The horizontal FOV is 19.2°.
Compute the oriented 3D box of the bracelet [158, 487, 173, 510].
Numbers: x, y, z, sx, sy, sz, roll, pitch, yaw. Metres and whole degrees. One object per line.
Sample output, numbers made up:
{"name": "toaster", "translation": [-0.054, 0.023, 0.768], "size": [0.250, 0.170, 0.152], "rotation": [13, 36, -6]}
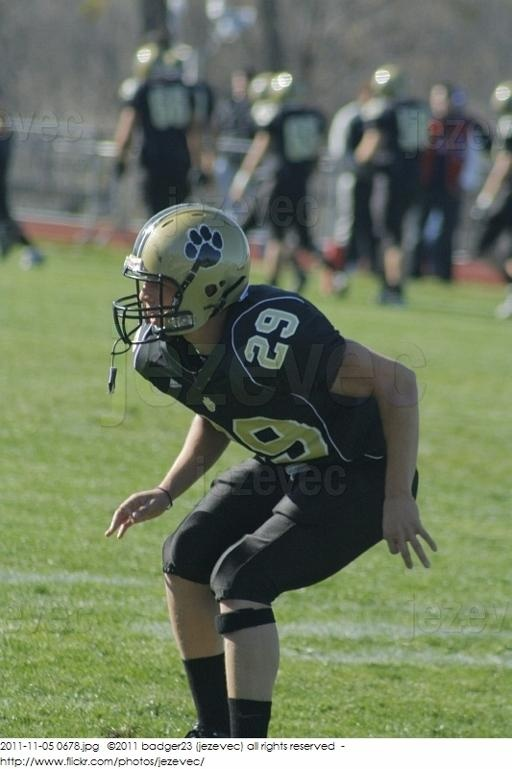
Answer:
{"name": "bracelet", "translation": [-0.274, 0.367, 4.787], "size": [0.061, 0.058, 0.018], "rotation": [-5, -16, 28]}

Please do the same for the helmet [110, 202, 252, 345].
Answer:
{"name": "helmet", "translation": [-0.217, -0.341, 4.686], "size": [0.483, 0.349, 0.342], "rotation": [-8, 8, -21]}

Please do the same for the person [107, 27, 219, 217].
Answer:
{"name": "person", "translation": [-0.536, -1.484, 8.906], "size": [0.541, 0.995, 1.111], "rotation": [2, 17, -3]}

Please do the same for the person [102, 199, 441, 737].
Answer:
{"name": "person", "translation": [0.045, 0.272, 4.655], "size": [0.795, 1.587, 0.851], "rotation": [-9, 21, -33]}
